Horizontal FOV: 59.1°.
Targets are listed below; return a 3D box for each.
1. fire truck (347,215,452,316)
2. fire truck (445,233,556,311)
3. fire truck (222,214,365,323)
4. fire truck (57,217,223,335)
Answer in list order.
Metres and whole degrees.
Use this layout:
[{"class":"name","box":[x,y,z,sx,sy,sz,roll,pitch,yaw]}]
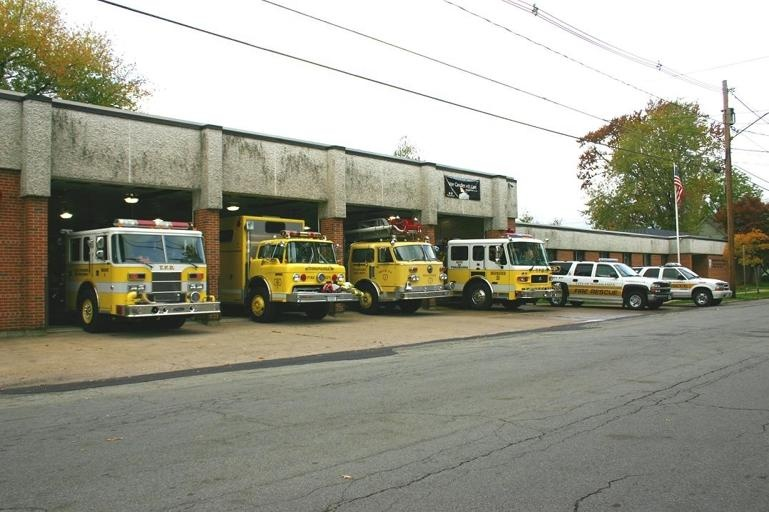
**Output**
[{"class":"fire truck","box":[-0.216,0.701,27.450,3.218,2.914,5.380,-1,1,-42]},{"class":"fire truck","box":[4.657,0.758,28.757,2.725,2.563,4.354,1,-4,-33]},{"class":"fire truck","box":[-4.220,0.322,24.601,3.005,3.241,6.304,-3,3,-44]},{"class":"fire truck","box":[-7.912,0.719,21.664,3.413,3.301,5.923,0,0,-41]}]
